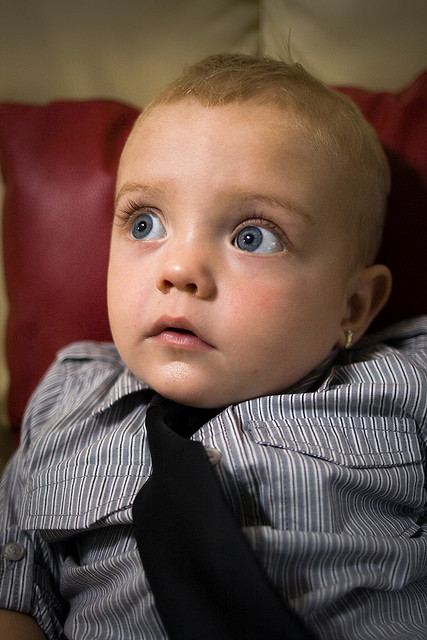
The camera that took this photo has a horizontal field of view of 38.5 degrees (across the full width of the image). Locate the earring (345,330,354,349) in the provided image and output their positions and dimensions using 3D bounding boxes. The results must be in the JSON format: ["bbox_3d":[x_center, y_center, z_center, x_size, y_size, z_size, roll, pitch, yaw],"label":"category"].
[{"bbox_3d":[0.161,0.024,0.731,0.007,0.028,0.016,14,37,19],"label":"earring"}]

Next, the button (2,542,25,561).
[{"bbox_3d":[-0.221,0.254,0.675,0.023,0.009,0.018,1,32,2],"label":"button"}]
